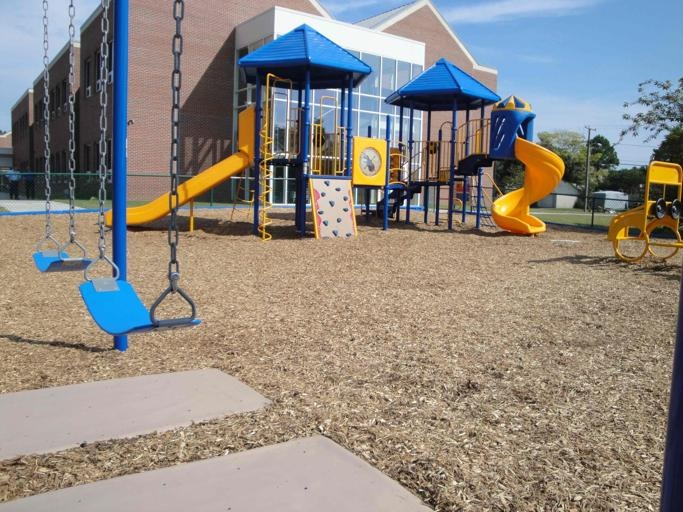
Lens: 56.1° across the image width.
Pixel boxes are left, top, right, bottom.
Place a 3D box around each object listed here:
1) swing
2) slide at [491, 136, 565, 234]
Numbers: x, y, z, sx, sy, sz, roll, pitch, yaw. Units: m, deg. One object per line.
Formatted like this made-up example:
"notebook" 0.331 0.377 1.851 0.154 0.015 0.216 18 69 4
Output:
"swing" -4.540 -2.287 13.727 2.508 9.983 2.567 2 7 -44
"slide" 4.469 -1.746 15.588 1.616 2.392 1.601 0 2 40
